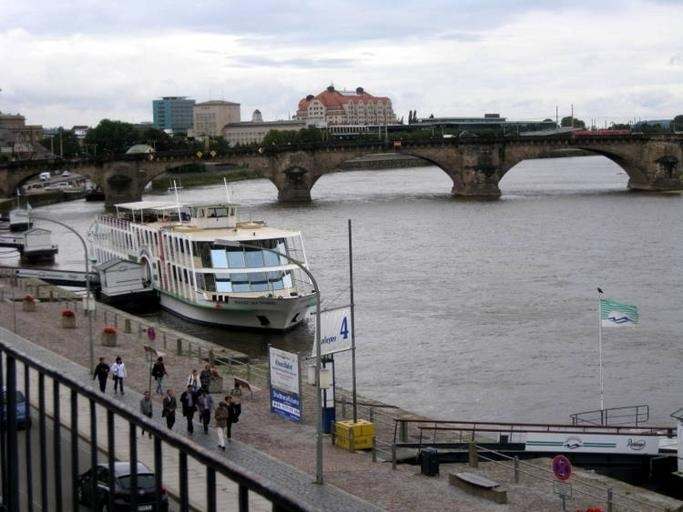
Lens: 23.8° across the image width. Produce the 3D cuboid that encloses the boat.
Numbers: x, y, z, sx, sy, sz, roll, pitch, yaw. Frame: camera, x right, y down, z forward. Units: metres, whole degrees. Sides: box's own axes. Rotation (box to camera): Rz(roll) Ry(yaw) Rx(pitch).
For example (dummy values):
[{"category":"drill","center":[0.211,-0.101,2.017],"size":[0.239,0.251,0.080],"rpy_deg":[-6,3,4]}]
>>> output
[{"category":"boat","center":[-7.364,-0.285,85.985],"size":[6.680,6.077,27.491],"rpy_deg":[-9,9,-22]}]

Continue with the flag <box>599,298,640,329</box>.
[{"category":"flag","center":[12.177,2.553,70.923],"size":[1.991,1.350,0.292],"rpy_deg":[1,-1,16]}]

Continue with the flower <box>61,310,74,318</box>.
[{"category":"flower","center":[-12.686,2.658,74.748],"size":[0.416,0.226,0.399],"rpy_deg":[-1,0,4]}]
